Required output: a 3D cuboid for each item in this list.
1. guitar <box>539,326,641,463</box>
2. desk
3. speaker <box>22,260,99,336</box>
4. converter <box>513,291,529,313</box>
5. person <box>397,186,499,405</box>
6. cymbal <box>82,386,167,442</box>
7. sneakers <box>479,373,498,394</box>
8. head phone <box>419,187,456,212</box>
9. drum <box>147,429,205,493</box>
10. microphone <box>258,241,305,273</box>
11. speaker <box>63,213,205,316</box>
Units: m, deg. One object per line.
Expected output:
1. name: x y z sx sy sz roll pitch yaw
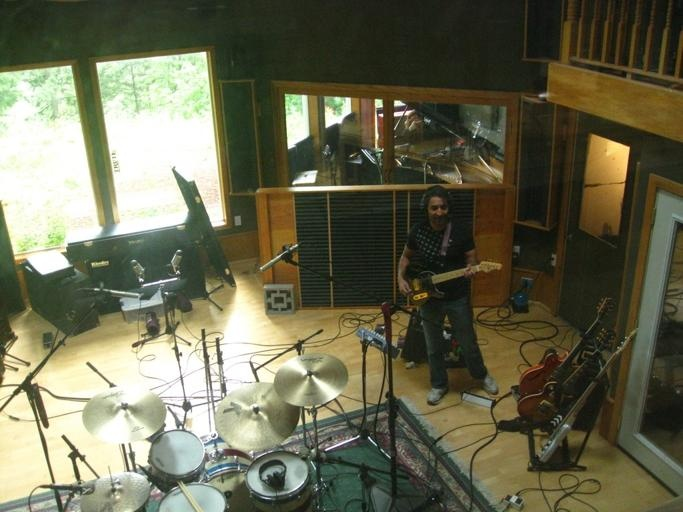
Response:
1. guitar: 2.001 1.237 5.057 1.067 1.116 0.368 -23 29 -36
2. desk: -2.436 -0.011 7.755 1.982 0.927 1.220 -8 14 -23
3. speaker: -3.337 0.498 7.214 0.678 0.649 0.359 20 31 37
4. converter: 2.156 0.527 7.362 0.203 0.237 0.244 8 33 26
5. person: 1.023 0.423 5.778 0.890 2.073 0.686 -5 13 5
6. cymbal: -1.659 1.201 4.635 0.580 0.190 0.464 -6 23 -2
7. sneakers: 1.475 1.272 6.044 0.105 0.093 0.227 -37 55 2
8. head phone: 0.895 -0.532 5.658 0.274 0.227 0.192 -3 23 5
9. drum: -1.307 1.642 4.833 0.395 0.408 0.396 7 43 -18
10. microphone: -0.654 0.003 6.776 0.431 0.114 0.155 -32 25 15
11. speaker: -2.662 -0.085 7.940 1.967 1.333 1.139 -9 20 -22
